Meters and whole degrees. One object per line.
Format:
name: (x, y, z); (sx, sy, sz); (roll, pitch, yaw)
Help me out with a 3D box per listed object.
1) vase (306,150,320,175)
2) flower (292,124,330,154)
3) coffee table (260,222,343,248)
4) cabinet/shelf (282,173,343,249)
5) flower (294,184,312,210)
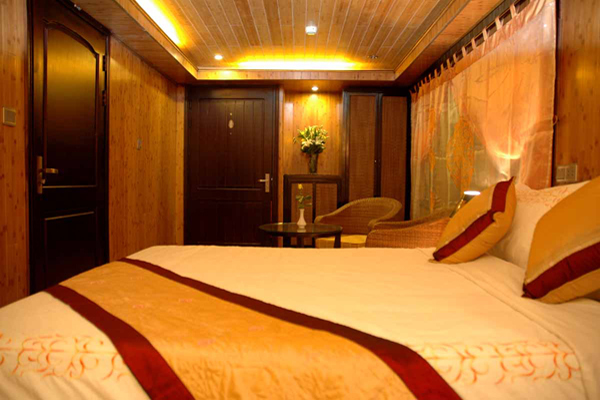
vase: (0.199, -0.538, 6.307); (0.161, 0.326, 0.440); (1, 2, 0)
flower: (0.176, -0.952, 6.329); (0.453, 0.410, 0.472); (-1, 11, 1)
coffee table: (0.021, 0.356, 4.447); (0.548, 0.286, 0.573); (1, 4, 3)
cabinet/shelf: (0.181, 0.139, 5.473); (0.953, 1.026, 0.346); (0, 1, 1)
flower: (0.054, -0.035, 5.798); (0.291, 0.354, 0.333); (0, 1, 37)
